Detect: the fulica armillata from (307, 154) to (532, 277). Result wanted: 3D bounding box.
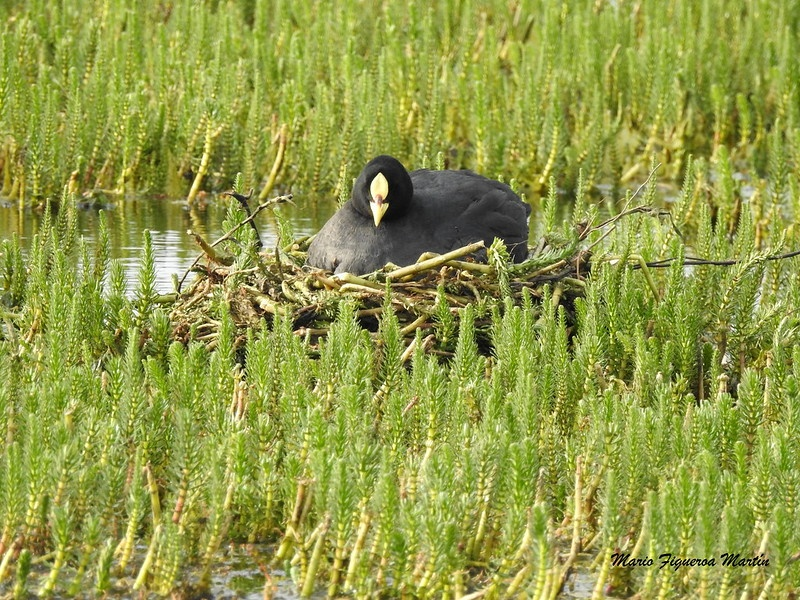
[{"bbox_3d":[0.139,-0.480,6.237,1.085,0.764,0.720,-24,117,-23],"label":"fulica armillata"}]
